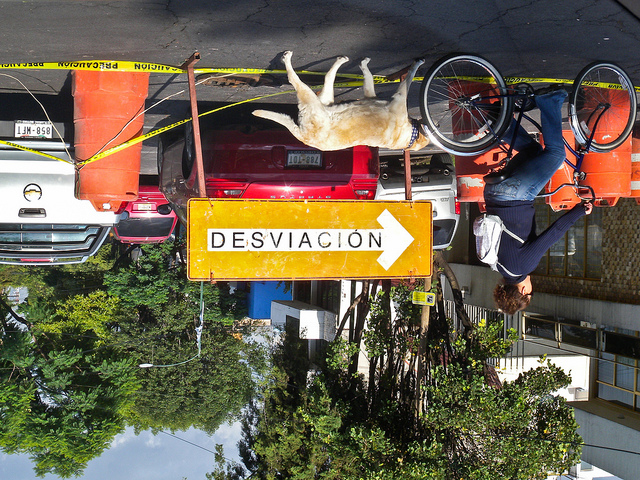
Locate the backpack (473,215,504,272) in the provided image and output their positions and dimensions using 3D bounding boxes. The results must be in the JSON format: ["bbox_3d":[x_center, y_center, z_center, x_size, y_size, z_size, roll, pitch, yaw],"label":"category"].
[{"bbox_3d":[2.718,0.023,12.706,0.349,0.838,0.383,-1,7,5],"label":"backpack"}]

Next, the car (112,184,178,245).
[{"bbox_3d":[-4.419,-0.578,20.380,1.335,1.708,1.977,-2,6,-16],"label":"car"}]

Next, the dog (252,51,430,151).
[{"bbox_3d":[0.518,-2.301,12.990,2.474,1.527,0.651,0,-2,-2],"label":"dog"}]
